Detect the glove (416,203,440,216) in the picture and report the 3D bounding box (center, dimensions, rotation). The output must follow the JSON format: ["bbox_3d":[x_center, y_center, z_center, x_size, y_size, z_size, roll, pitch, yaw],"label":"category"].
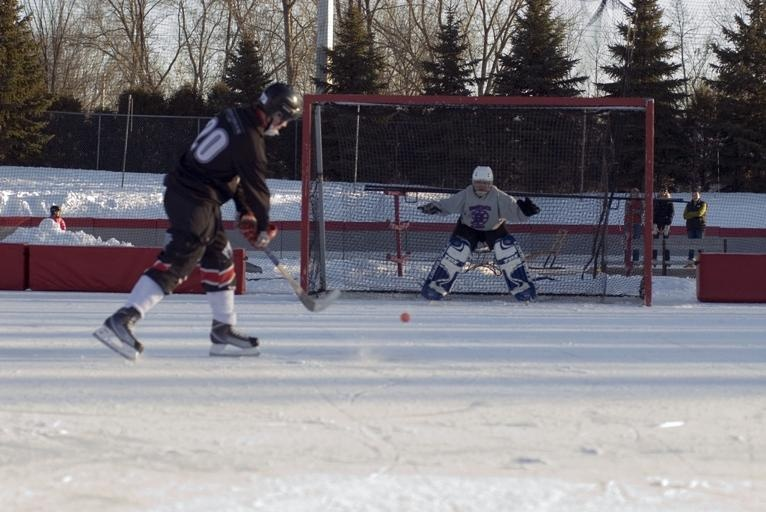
[{"bbox_3d":[0.736,-0.754,18.487,0.340,0.162,0.460,3,3,13],"label":"glove"}]

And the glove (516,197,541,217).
[{"bbox_3d":[2.221,-0.721,17.247,0.303,0.123,0.290,27,33,-21],"label":"glove"}]

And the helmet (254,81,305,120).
[{"bbox_3d":[-1.253,-2.000,14.539,0.546,0.498,0.413,2,43,-39],"label":"helmet"}]

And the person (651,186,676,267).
[{"bbox_3d":[5.491,-0.511,22.411,0.545,1.813,0.611,1,-1,0],"label":"person"}]

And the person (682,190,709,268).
[{"bbox_3d":[6.164,-0.483,22.578,0.640,1.806,0.556,3,0,0],"label":"person"}]

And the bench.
[{"bbox_3d":[5.259,0.019,21.567,1.376,0.622,0.421,-1,-5,-7],"label":"bench"}]
